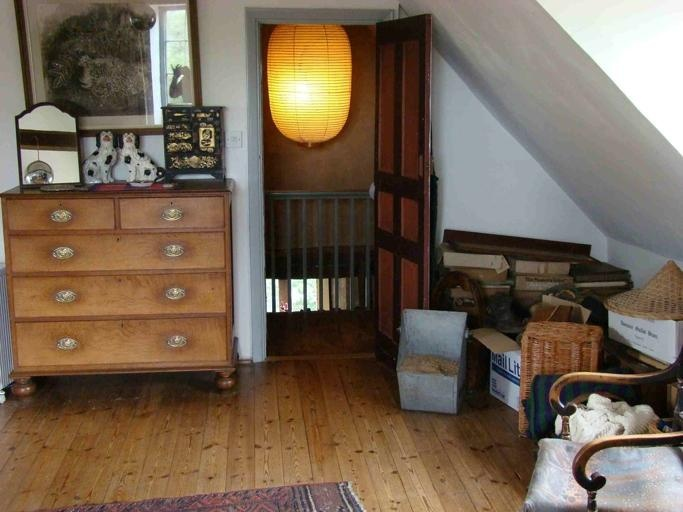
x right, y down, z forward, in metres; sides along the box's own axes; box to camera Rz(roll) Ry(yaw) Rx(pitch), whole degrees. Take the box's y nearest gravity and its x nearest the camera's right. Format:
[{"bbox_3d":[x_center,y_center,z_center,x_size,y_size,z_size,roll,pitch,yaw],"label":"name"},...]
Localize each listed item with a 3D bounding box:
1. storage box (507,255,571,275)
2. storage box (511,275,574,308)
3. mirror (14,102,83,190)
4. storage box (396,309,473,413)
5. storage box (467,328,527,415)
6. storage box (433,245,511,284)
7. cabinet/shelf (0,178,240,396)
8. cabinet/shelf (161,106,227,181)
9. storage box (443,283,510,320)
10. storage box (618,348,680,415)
[{"bbox_3d":[1.371,0.070,3.955,0.416,0.125,0.053,0,13,4],"label":"storage box"},{"bbox_3d":[1.376,0.241,3.938,0.410,0.212,0.077,0,13,5],"label":"storage box"},{"bbox_3d":[-1.905,-0.719,3.725,0.382,0.508,0.088,-4,14,-9],"label":"mirror"},{"bbox_3d":[0.552,0.648,3.499,0.416,0.575,0.376,1,13,12],"label":"storage box"},{"bbox_3d":[0.946,0.697,3.478,0.278,0.466,0.481,-4,11,-12],"label":"storage box"},{"bbox_3d":[0.926,0.067,3.997,0.469,0.230,0.118,2,14,16],"label":"storage box"},{"bbox_3d":[-1.385,0.183,3.534,1.451,1.237,0.603,-1,8,-4],"label":"cabinet/shelf"},{"bbox_3d":[-0.986,-0.756,3.827,0.522,0.552,0.218,0,11,-3],"label":"cabinet/shelf"},{"bbox_3d":[0.926,0.317,3.839,0.403,0.180,0.221,1,8,9],"label":"storage box"},{"bbox_3d":[1.472,0.604,2.733,0.197,0.256,0.281,-17,31,-8],"label":"storage box"}]
